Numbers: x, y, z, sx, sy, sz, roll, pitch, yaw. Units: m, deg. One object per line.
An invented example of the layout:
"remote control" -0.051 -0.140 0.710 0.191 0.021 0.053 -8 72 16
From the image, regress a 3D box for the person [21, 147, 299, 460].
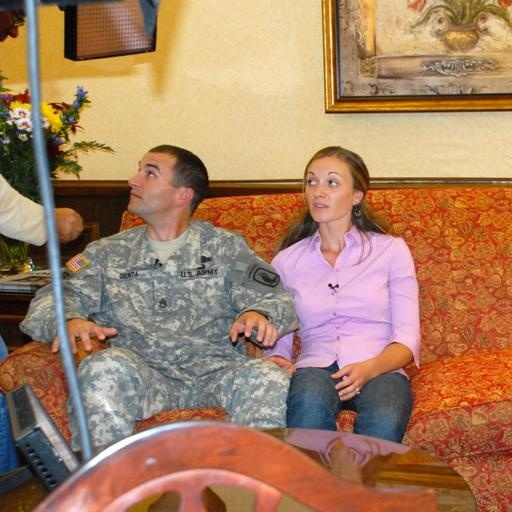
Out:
"person" -0.324 0.286 1.648 0.893 1.124 0.726 0 0 4

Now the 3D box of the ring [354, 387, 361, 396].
"ring" 0.321 0.426 1.519 0.013 0.030 0.024 8 2 -13
